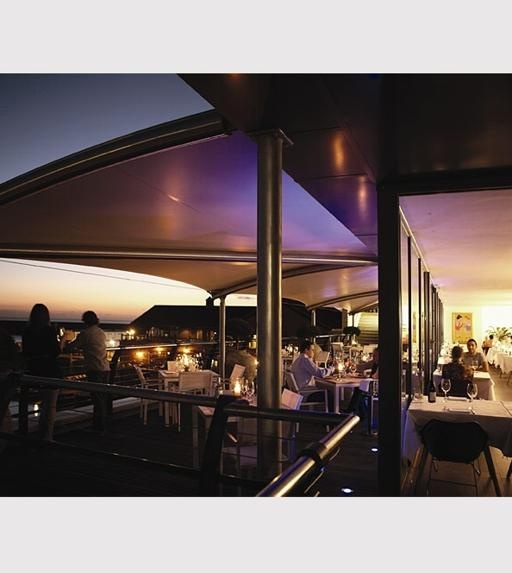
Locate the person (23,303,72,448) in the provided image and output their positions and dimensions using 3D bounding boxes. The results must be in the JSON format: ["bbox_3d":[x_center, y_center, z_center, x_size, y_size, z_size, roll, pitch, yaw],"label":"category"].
[{"bbox_3d":[-2.458,1.038,5.789,0.420,1.768,1.615,-3,1,-23],"label":"person"}]

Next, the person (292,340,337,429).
[{"bbox_3d":[0.813,1.348,7.271,0.719,1.569,0.606,-1,-2,-19],"label":"person"}]
